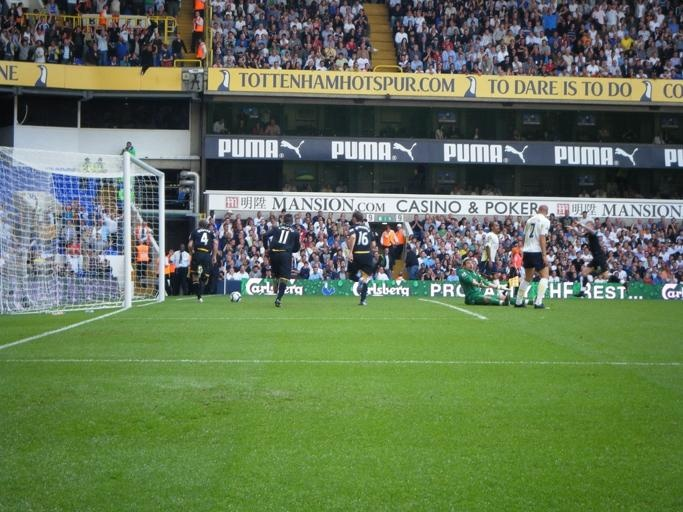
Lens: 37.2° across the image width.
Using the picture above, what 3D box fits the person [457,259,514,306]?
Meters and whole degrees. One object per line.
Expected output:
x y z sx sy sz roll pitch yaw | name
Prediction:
3.937 0.769 27.629 1.397 1.622 1.018 0 -1 5 | person

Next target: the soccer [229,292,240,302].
-2.966 1.145 28.300 0.256 0.260 0.635 0 -1 -11 | soccer

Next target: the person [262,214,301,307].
-1.571 0.122 26.397 0.914 2.377 1.249 0 -1 -12 | person

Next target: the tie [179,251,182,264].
-5.112 0.052 32.177 0.139 0.299 0.080 -1 -1 16 | tie
